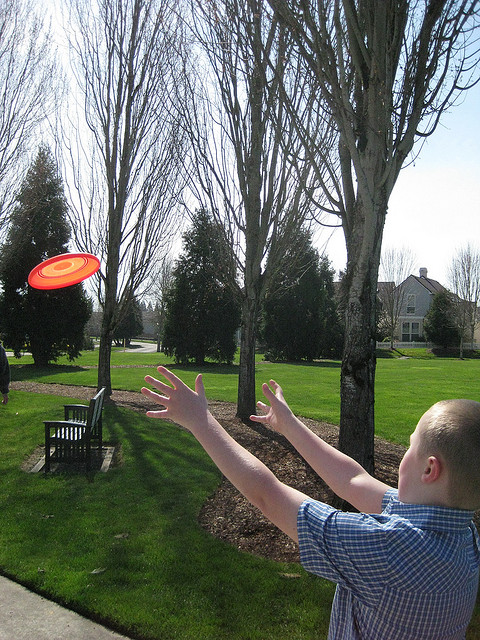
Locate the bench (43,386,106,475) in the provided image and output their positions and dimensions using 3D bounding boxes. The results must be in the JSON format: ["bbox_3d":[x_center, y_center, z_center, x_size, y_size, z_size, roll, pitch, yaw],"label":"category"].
[{"bbox_3d":[-2.319,1.495,7.030,0.500,1.076,1.429,2,-2,-13],"label":"bench"}]
